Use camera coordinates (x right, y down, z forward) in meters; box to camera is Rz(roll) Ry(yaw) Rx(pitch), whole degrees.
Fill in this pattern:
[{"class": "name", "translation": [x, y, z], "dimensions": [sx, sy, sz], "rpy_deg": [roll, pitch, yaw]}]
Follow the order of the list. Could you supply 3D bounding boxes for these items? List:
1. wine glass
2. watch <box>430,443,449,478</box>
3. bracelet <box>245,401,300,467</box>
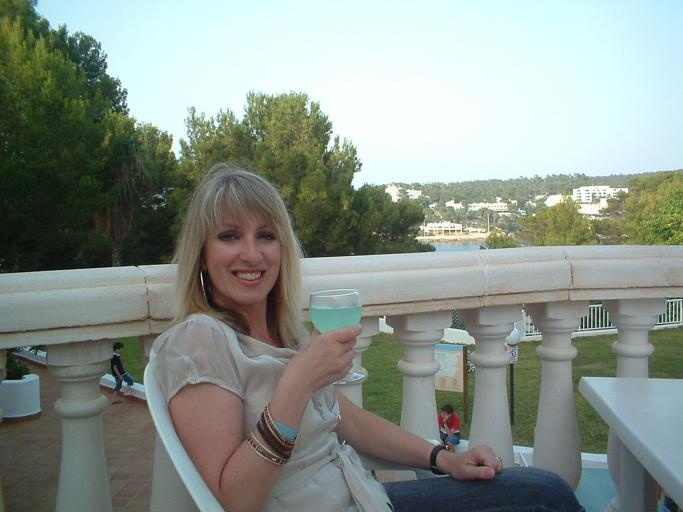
[{"class": "wine glass", "translation": [-0.012, 0.256, 1.848], "dimensions": [0.149, 0.281, 0.086], "rpy_deg": [1, -2, -45]}, {"class": "watch", "translation": [0.390, 0.806, 2.201], "dimensions": [0.077, 0.117, 0.038], "rpy_deg": [-11, -6, 31]}, {"class": "bracelet", "translation": [-0.207, 0.539, 1.658], "dimensions": [0.142, 0.176, 0.046], "rpy_deg": [-2, 3, -13]}]
